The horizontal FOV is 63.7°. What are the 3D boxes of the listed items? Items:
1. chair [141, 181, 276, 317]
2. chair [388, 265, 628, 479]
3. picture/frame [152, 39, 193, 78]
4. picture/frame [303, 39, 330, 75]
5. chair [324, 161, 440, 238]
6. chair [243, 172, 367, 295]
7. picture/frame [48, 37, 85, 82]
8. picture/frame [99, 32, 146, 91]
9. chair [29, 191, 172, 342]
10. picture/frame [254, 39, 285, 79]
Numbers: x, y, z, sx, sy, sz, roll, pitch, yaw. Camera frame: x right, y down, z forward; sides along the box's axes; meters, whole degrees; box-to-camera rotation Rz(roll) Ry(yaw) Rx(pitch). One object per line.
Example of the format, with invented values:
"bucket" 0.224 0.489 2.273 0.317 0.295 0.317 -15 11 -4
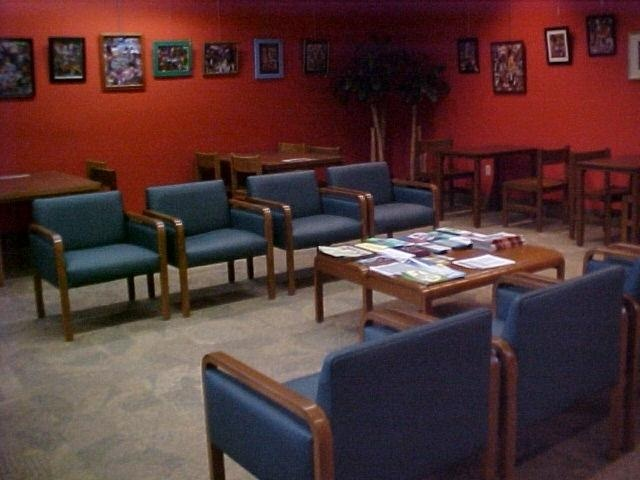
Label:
"chair" -1.016 0.011 4.716 0.936 0.976 0.833 -10 16 -37
"chair" 1.036 0.550 2.710 1.030 1.149 0.839 -11 17 -31
"picture/frame" -1.973 -2.423 6.837 0.561 0.511 0.056 -5 11 -36
"picture/frame" -0.060 -2.845 7.997 0.557 0.548 0.066 -19 28 -41
"chair" 0.708 -0.279 5.653 1.106 0.935 0.862 -11 14 -36
"chair" -0.208 -0.134 5.437 1.155 1.278 1.245 -10 15 -35
"picture/frame" -3.069 -2.202 6.226 0.531 0.602 0.042 -9 16 -41
"picture/frame" -2.521 -2.289 6.531 0.744 0.857 0.067 -6 10 -33
"chair" -1.829 0.160 4.287 0.930 0.997 0.999 9 15 34
"picture/frame" -0.759 -2.667 7.555 0.612 0.673 0.054 -6 8 -39
